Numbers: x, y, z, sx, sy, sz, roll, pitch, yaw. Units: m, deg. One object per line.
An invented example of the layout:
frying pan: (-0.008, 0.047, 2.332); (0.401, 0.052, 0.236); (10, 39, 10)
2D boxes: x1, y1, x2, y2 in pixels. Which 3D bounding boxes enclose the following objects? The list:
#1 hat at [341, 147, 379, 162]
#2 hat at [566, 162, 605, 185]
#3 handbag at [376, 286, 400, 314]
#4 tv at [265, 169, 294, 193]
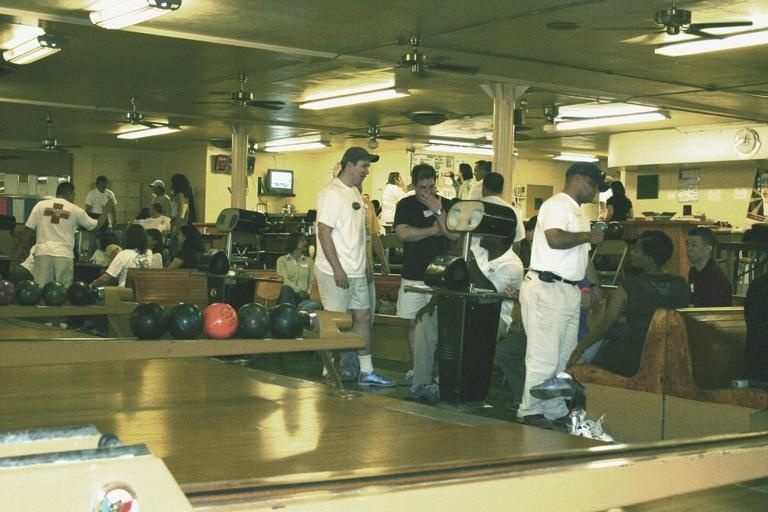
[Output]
hat: (-0.195, -0.834, 6.152); (0.300, 0.102, 0.175); (0, 2, -5)
hat: (1.437, -0.601, 5.317); (0.266, 0.114, 0.169); (7, 10, -4)
handbag: (0.035, 0.519, 8.217); (0.252, 0.287, 0.316); (0, -9, -2)
tv: (-2.602, -1.833, 18.350); (0.762, 0.544, 0.384); (-1, 2, -36)
